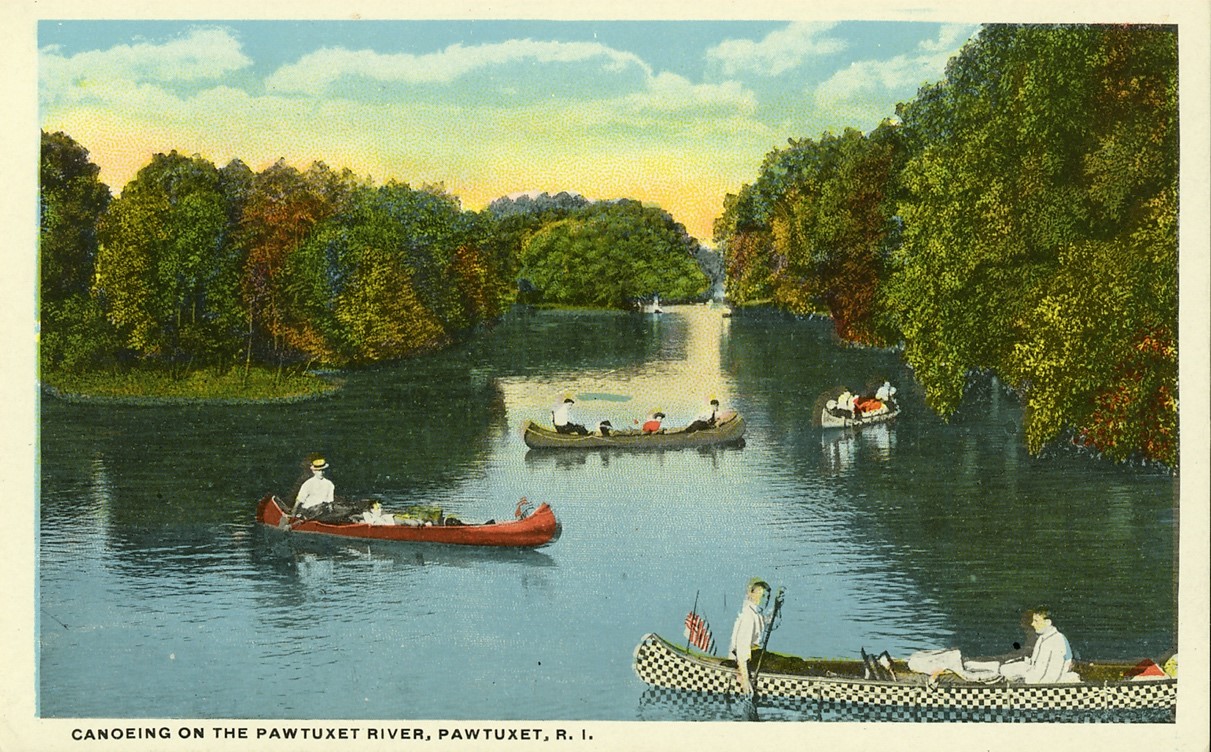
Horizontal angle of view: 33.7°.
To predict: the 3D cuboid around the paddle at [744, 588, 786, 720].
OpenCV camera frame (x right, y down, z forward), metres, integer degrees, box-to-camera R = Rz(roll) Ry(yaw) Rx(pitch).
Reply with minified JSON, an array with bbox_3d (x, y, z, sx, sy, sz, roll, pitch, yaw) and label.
[{"bbox_3d":[5.257,9.427,65.840,1.067,4.988,1.067,6,11,-39],"label":"paddle"}]
